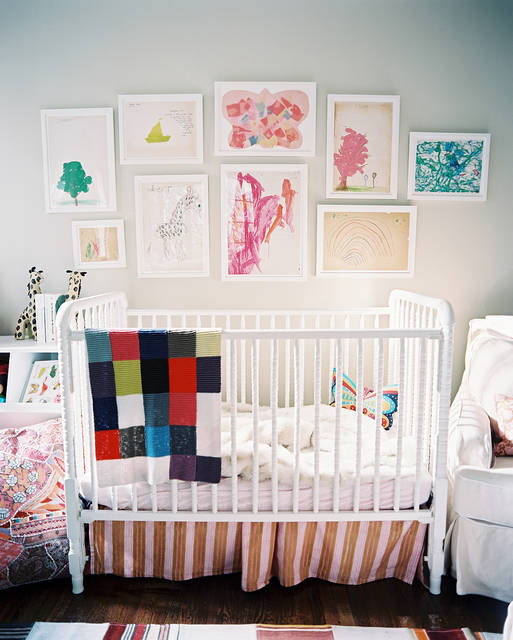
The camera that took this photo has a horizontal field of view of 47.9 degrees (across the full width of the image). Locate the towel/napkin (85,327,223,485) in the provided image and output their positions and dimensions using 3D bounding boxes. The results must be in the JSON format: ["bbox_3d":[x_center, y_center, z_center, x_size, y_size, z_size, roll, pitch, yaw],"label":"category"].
[{"bbox_3d":[-0.324,0.269,1.857,0.484,0.587,0.079,0,9,-3],"label":"towel/napkin"}]

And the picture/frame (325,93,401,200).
[{"bbox_3d":[0.504,-0.861,2.782,0.461,0.663,0.036,1,11,2],"label":"picture/frame"}]

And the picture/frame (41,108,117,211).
[{"bbox_3d":[-0.851,-0.800,2.788,0.460,0.652,0.028,0,14,1],"label":"picture/frame"}]

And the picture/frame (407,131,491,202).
[{"bbox_3d":[0.926,-0.763,2.811,0.313,0.273,0.014,1,8,1],"label":"picture/frame"}]

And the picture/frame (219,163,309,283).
[{"bbox_3d":[0.031,-0.502,2.822,0.539,0.730,0.039,0,11,1],"label":"picture/frame"}]

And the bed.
[{"bbox_3d":[-0.009,0.411,2.286,1.314,1.022,0.814,0,4,0],"label":"bed"}]

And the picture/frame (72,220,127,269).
[{"bbox_3d":[-0.769,-0.385,2.839,0.216,0.226,0.016,-1,7,-1],"label":"picture/frame"}]
